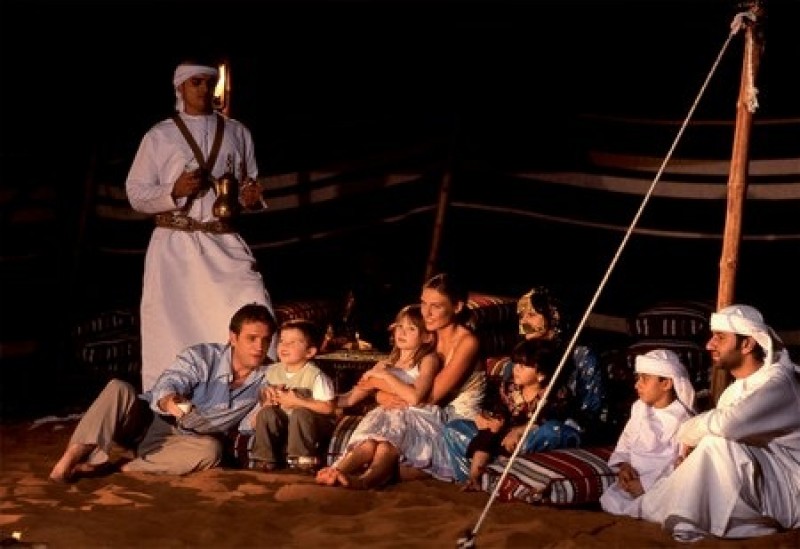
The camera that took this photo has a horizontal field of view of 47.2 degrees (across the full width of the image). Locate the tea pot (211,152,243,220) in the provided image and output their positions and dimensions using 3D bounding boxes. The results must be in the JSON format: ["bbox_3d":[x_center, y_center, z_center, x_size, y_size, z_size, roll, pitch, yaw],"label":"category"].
[{"bbox_3d":[-1.370,-0.692,7.287,0.234,0.486,0.247,10,-8,1],"label":"tea pot"}]

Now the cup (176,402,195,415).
[{"bbox_3d":[-1.534,0.955,6.436,0.111,0.058,0.098,-2,-8,-2],"label":"cup"}]

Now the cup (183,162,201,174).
[{"bbox_3d":[-1.659,-0.855,7.233,0.118,0.101,0.061,13,25,11],"label":"cup"}]
